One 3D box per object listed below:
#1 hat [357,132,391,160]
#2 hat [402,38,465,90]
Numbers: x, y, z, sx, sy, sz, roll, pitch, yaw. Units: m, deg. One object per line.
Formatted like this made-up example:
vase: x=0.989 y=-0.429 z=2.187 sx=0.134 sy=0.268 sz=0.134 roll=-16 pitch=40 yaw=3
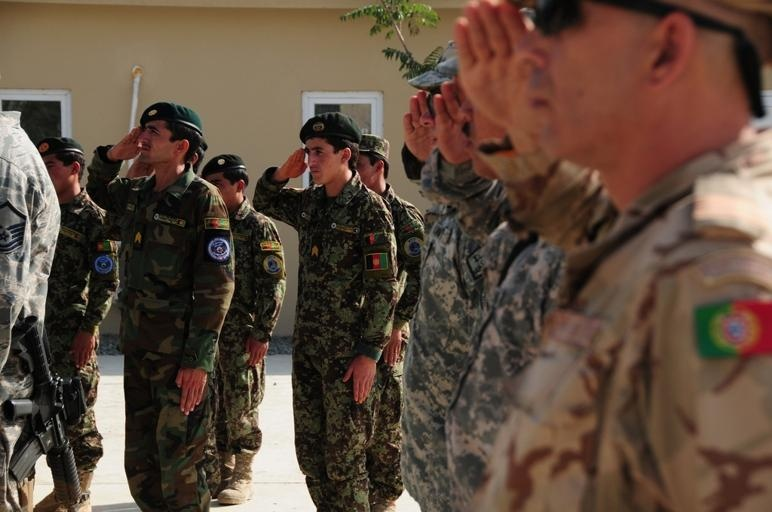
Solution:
hat: x=-0.062 y=-0.753 z=7.709 sx=0.213 sy=0.091 sz=0.145 roll=21 pitch=-11 yaw=-27
hat: x=0.224 y=-0.752 z=4.546 sx=0.294 sy=0.127 sz=0.209 roll=-29 pitch=27 yaw=-1
